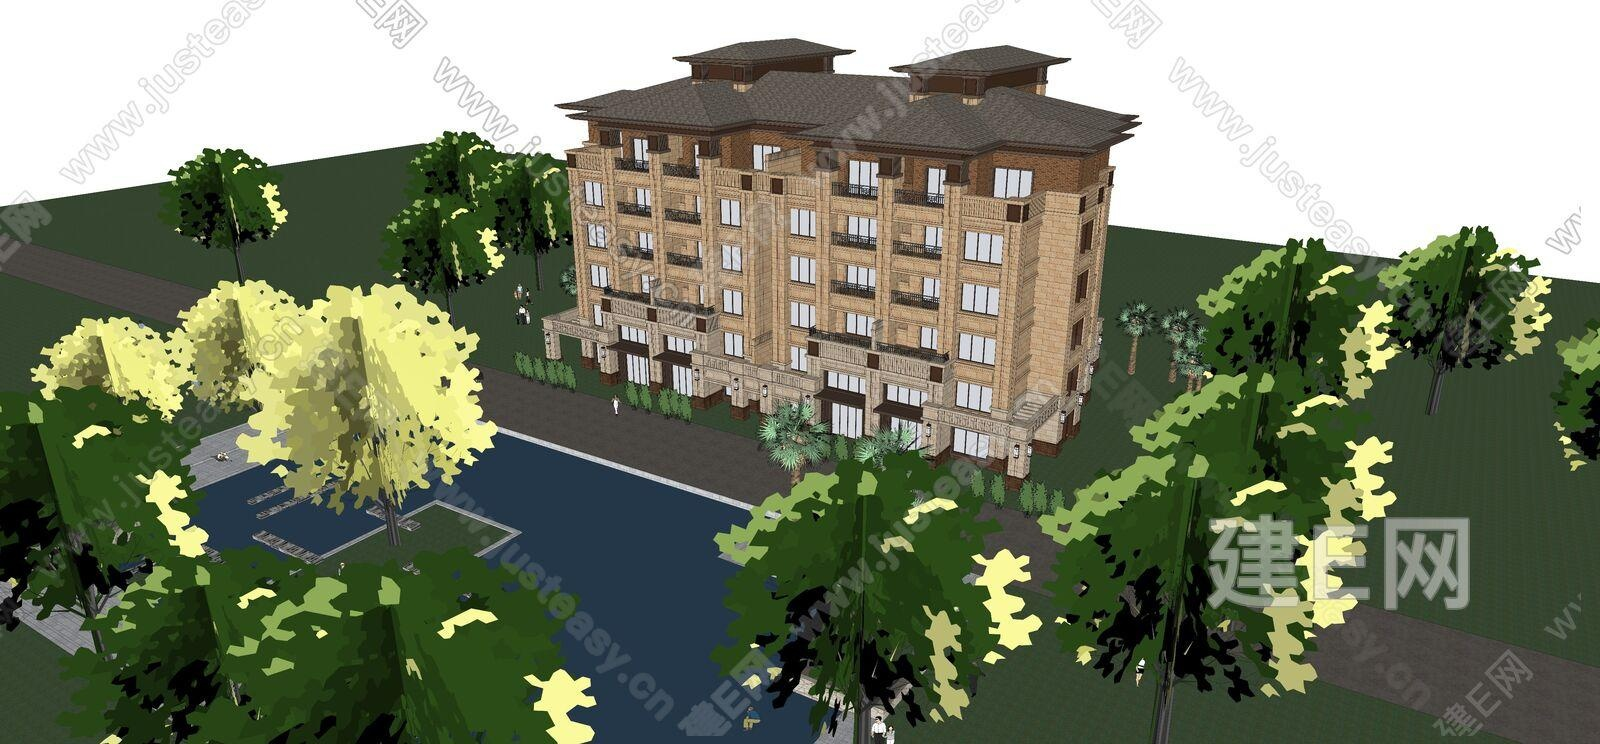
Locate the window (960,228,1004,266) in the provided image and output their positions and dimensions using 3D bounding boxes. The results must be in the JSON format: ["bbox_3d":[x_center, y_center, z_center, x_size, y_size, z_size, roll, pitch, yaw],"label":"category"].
[{"bbox_3d":[14.046,-9.605,70.822,3.289,1.982,0.264,9,26,27],"label":"window"}]

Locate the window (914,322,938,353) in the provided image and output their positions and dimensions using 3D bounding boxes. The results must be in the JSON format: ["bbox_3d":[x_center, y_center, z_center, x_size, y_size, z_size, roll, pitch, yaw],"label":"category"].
[{"bbox_3d":[10.069,-2.793,73.587,2.453,2.346,0.177,13,32,26],"label":"window"}]

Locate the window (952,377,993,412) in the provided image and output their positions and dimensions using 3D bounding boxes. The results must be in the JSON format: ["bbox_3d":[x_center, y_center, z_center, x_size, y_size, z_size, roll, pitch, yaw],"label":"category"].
[{"bbox_3d":[13.670,1.714,72.923,3.112,1.851,0.245,7,21,20],"label":"window"}]

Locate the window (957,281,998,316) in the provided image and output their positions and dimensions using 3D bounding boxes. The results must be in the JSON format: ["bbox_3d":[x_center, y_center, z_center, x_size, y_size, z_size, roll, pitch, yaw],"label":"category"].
[{"bbox_3d":[13.814,-5.756,71.702,3.055,1.911,0.232,8,25,23],"label":"window"}]

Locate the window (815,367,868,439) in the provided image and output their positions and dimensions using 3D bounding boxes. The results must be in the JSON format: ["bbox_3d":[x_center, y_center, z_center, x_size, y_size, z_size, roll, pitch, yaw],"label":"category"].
[{"bbox_3d":[3.483,2.570,75.485,5.672,6.625,2.304,8,23,21],"label":"window"}]

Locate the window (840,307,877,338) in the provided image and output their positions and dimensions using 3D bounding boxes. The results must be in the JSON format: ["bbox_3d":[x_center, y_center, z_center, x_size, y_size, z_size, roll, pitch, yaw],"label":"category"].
[{"bbox_3d":[4.826,-4.041,74.861,2.786,1.706,0.226,14,37,26],"label":"window"}]

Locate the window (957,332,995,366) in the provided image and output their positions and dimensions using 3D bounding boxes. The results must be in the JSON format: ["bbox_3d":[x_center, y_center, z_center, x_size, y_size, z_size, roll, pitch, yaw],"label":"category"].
[{"bbox_3d":[13.864,-1.826,72.378,2.896,1.760,0.228,13,31,26],"label":"window"}]

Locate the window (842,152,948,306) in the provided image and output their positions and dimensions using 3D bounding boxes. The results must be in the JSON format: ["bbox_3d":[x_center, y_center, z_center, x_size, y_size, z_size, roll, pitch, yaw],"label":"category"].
[{"bbox_3d":[7.680,-11.547,72.256,11.543,9.316,6.195,10,25,22],"label":"window"}]

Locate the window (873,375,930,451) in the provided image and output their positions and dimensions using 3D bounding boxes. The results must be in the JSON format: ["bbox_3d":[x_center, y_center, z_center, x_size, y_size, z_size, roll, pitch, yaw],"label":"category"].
[{"bbox_3d":[8.101,3.236,73.517,5.203,4.443,3.289,14,31,27],"label":"window"}]

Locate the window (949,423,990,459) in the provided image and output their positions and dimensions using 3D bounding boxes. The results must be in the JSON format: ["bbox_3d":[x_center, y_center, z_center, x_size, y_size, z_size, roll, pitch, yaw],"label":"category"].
[{"bbox_3d":[13.566,5.391,73.384,3.463,2.087,0.283,8,27,23],"label":"window"}]
